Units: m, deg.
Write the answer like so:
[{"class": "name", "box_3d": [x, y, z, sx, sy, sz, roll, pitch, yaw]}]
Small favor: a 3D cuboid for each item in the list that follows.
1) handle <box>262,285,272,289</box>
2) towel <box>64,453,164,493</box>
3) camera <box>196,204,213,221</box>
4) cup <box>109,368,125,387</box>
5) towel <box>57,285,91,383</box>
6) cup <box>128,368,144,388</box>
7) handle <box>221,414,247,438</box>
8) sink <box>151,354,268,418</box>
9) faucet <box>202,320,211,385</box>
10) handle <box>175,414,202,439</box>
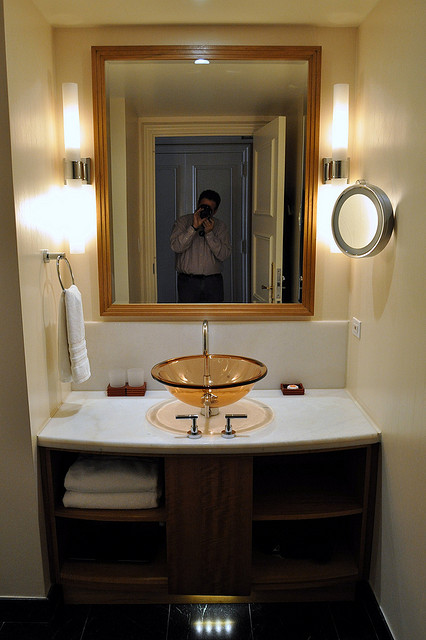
[{"class": "handle", "box_3d": [0.221, -0.133, 1.976, 0.044, 0.014, 0.020, -3, 11, 1]}, {"class": "towel", "box_3d": [-0.351, 0.536, 1.740, 0.207, 0.075, 0.225, 0, -3, 1]}, {"class": "camera", "box_3d": [-0.031, -0.418, 1.906, 0.046, 0.050, 0.018, 3, 15, -1]}, {"class": "cup", "box_3d": [-0.389, 0.236, 1.978, 0.059, 0.063, 0.060, 1, 21, 0]}, {"class": "towel", "box_3d": [-0.518, 0.055, 1.772, 0.135, 0.339, 0.113, -11, 17, -43]}, {"class": "cup", "box_3d": [-0.311, 0.235, 1.976, 0.057, 0.072, 0.069, 0, 6, -4]}, {"class": "handle", "box_3d": [0.071, 0.344, 1.608, 0.083, 0.094, 0.050, -2, 14, -3]}, {"class": "sink", "box_3d": [-0.013, 0.252, 1.745, 0.390, 0.181, 0.430, 0, 11, 5]}, {"class": "faucet", "box_3d": [-0.021, 0.130, 1.737, 0.039, 0.232, 0.092, -2, 1, -1]}, {"class": "handle", "box_3d": [-0.073, 0.346, 1.578, 0.086, 0.100, 0.054, 2, 0, -14]}]
